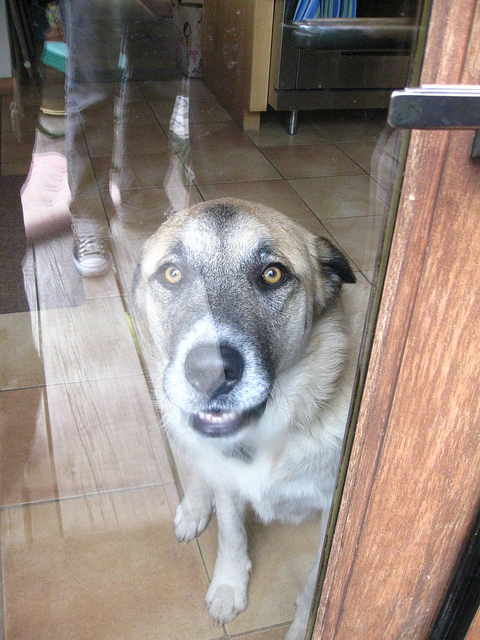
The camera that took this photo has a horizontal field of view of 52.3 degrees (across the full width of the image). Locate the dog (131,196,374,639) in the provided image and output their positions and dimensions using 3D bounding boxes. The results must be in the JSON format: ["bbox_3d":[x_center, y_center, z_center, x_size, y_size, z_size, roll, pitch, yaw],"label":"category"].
[{"bbox_3d":[-0.018,0.192,0.704,0.302,0.744,0.187,16,34,18],"label":"dog"}]
